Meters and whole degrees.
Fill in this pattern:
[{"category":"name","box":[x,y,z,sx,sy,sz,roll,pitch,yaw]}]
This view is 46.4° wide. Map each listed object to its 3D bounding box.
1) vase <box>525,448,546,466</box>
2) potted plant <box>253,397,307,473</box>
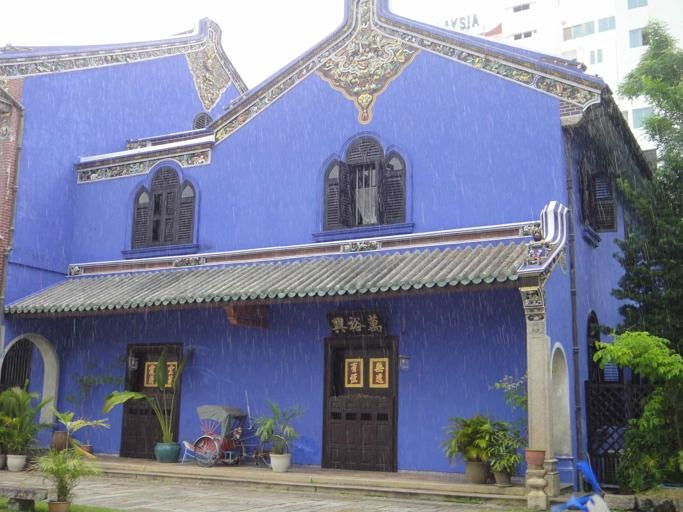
[{"category":"vase","box":[3.367,3.548,13.947,0.293,0.275,0.268,-1,-21,11]},{"category":"potted plant","box":[-1.343,3.825,16.902,0.960,1.559,1.362,1,-17,-4]}]
